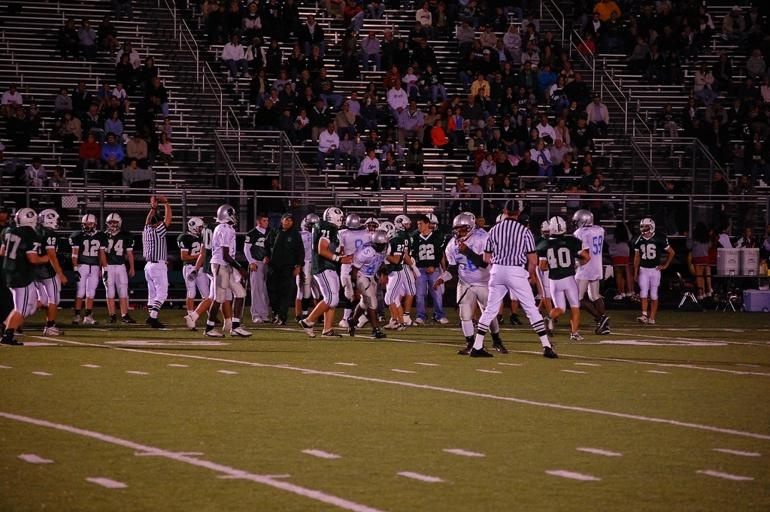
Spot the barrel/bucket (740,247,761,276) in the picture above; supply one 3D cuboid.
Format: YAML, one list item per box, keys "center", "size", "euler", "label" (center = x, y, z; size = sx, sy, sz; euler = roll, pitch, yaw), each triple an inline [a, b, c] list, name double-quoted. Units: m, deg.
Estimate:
- center: [10.883, 0.212, 27.099]
  size: [0.710, 0.886, 0.783]
  euler: [0, -2, 1]
  label: "barrel/bucket"
